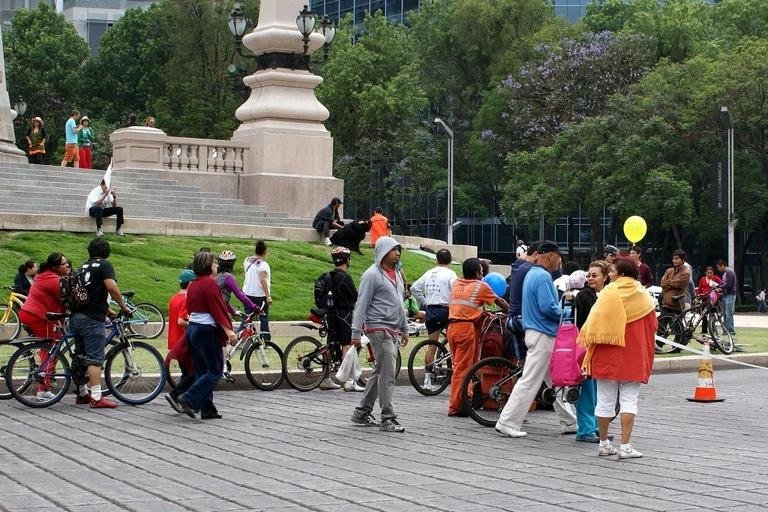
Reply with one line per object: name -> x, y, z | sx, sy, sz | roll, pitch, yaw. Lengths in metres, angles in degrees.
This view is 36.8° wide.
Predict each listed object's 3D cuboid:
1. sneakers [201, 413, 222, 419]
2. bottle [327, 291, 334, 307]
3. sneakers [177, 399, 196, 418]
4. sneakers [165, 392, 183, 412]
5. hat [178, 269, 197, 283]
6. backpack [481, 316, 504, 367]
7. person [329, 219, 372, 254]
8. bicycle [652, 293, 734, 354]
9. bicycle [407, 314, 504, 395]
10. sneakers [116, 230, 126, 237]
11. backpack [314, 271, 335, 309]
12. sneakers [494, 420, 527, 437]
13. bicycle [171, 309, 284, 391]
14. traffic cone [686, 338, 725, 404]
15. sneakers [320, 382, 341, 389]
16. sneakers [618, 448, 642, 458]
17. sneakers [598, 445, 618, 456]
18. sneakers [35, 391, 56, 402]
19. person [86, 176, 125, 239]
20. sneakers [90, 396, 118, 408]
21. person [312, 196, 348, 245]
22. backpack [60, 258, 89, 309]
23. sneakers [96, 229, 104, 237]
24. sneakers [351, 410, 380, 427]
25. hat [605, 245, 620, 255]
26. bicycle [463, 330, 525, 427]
sneakers -> -3.024, 2.746, 20.005 | 0.364, 0.142, 0.118 | 0, 1, -11
bottle -> -1.058, 0.805, 22.131 | 0.131, 0.195, 0.063 | 2, -1, 3
sneakers -> -3.410, 2.604, 19.855 | 0.451, 0.159, 0.205 | 43, -1, 6
sneakers -> -3.671, 2.522, 20.067 | 0.166, 0.356, 0.123 | -20, -14, -40
hat -> -3.710, 0.371, 21.637 | 0.238, 0.310, 0.280 | 11, -8, 39
backpack -> 1.935, 1.490, 20.671 | 0.505, 0.693, 0.725 | 0, -29, 11
person -> -0.989, -0.612, 33.167 | 1.213, 0.904, 0.714 | 1, 21, -20
bicycle -> 7.539, 1.583, 27.999 | 1.153, 1.408, 2.378 | -8, 4, -42
bicycle -> 1.078, 1.974, 22.275 | 0.989, 1.250, 2.107 | 9, -2, -17
sneakers -> -7.641, -0.671, 33.174 | 0.150, 0.142, 0.239 | 1, -1, -33
backpack -> -1.166, 0.670, 22.242 | 0.389, 0.735, 0.251 | 2, -1, 8
sneakers -> 2.016, 2.848, 19.075 | 0.587, 0.251, 0.203 | 8, 13, -4
bicycle -> -2.976, 1.807, 22.128 | 2.653, 1.546, 1.118 | 3, -3, -42
traffic cone -> 6.016, 2.145, 21.786 | 1.000, 1.025, 0.966 | 3, 1, 28
sneakers -> -1.103, 2.534, 22.863 | 0.442, 0.179, 0.140 | 0, 4, -21
sneakers -> 3.752, 3.010, 17.796 | 0.388, 0.151, 0.150 | 0, 4, -17
sneakers -> 3.464, 3.004, 17.970 | 0.323, 0.130, 0.124 | -5, 9, -41
sneakers -> -6.064, 2.483, 20.539 | 0.342, 0.196, 0.137 | 0, 9, -9
person -> -8.123, -1.338, 33.147 | 1.073, 1.213, 1.043 | 1, -1, 20
sneakers -> -5.045, 2.590, 20.619 | 0.385, 0.143, 0.204 | 1, 4, -9
person -> -1.619, -1.106, 37.095 | 1.191, 1.480, 1.129 | 6, 2, -34
backpack -> -5.573, 0.595, 20.562 | 0.522, 0.677, 0.414 | -6, 6, 41
sneakers -> -8.161, -0.663, 32.989 | 0.155, 0.174, 0.389 | -1, -2, -23
sneakers -> -0.357, 2.763, 19.635 | 0.490, 0.211, 0.206 | 9, 7, 9
hat -> 4.824, -0.147, 24.374 | 0.238, 0.268, 0.269 | 7, -4, -29
bicycle -> 2.317, 2.048, 20.406 | 1.135, 1.406, 1.256 | -16, -18, 42
